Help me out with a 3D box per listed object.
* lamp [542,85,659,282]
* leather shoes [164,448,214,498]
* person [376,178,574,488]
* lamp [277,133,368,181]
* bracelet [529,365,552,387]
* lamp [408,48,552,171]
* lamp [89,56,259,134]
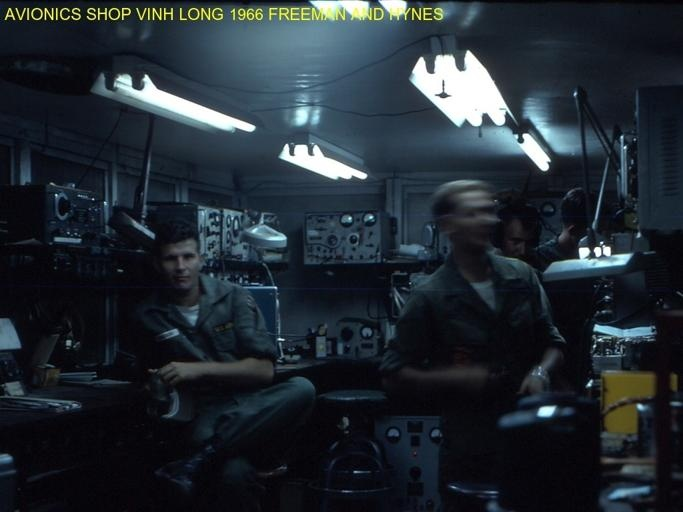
[{"bbox_3d":[0.888,-0.240,2.481,0.321,0.675,0.333,-3,-8,26],"label":"lamp"},{"bbox_3d":[-0.534,0.746,2.464,0.158,0.150,0.067,21,-12,-9],"label":"leather shoes"},{"bbox_3d":[0.410,0.248,2.241,0.524,0.938,0.256,-2,-8,20],"label":"person"},{"bbox_3d":[-0.060,-0.339,2.461,0.276,0.060,0.158,15,15,-25],"label":"lamp"},{"bbox_3d":[0.625,0.376,2.220,0.019,0.060,0.059,-42,14,17],"label":"bracelet"},{"bbox_3d":[0.451,-0.509,2.394,0.287,0.553,0.081,-40,3,-4],"label":"lamp"},{"bbox_3d":[-0.663,-0.678,3.054,0.679,0.151,0.389,27,-12,-41],"label":"lamp"}]
